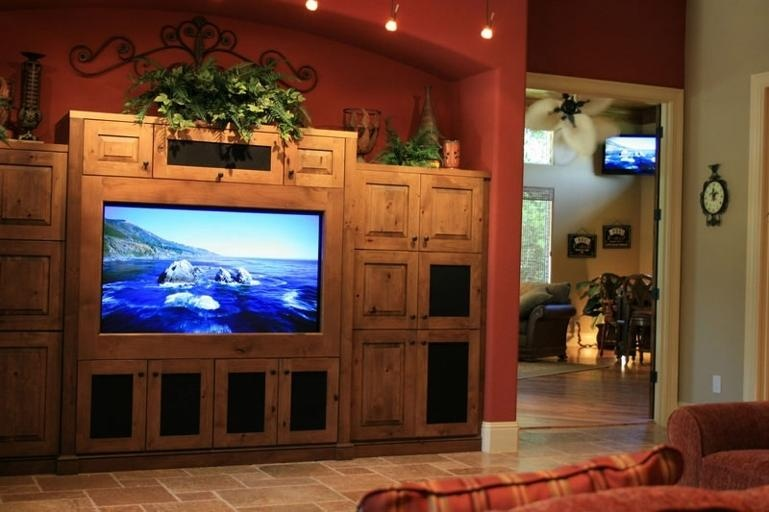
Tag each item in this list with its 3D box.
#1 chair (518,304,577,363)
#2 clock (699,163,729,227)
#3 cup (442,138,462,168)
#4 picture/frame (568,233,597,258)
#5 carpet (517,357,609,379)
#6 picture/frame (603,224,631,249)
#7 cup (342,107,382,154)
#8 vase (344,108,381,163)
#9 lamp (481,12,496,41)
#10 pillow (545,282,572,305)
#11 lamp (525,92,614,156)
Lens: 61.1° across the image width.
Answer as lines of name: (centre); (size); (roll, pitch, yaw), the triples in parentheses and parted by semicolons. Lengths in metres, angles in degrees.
chair: (2.825, 1.301, 11.148); (0.990, 1.194, 1.617); (1, -4, 5)
clock: (3.337, -0.617, 6.590); (0.057, 0.626, 0.306); (1, -1, -22)
cup: (0.604, -0.928, 5.927); (0.239, 0.309, 0.230); (-1, -1, 0)
picture/frame: (3.937, -0.210, 13.088); (0.536, 0.403, 0.042); (0, -2, -8)
carpet: (2.668, 1.771, 10.432); (1.143, 0.031, 2.230); (-1, -1, 45)
picture/frame: (4.700, -0.406, 13.292); (0.531, 0.414, 0.056); (1, -4, -15)
cup: (-0.207, -1.142, 6.044); (0.428, 0.430, 0.392); (1, 3, 0)
vase: (-0.247, -1.086, 5.999); (0.382, 0.518, 0.359); (-14, 24, -32)
lamp: (0.928, -2.052, 5.811); (0.139, 0.242, 0.130); (0, -1, -4)
pillow: (3.120, 0.664, 11.750); (0.481, 0.311, 0.224); (0, 4, 5)
lamp: (3.118, -2.180, 10.666); (1.063, 0.993, 1.769); (-1, -1, 41)
